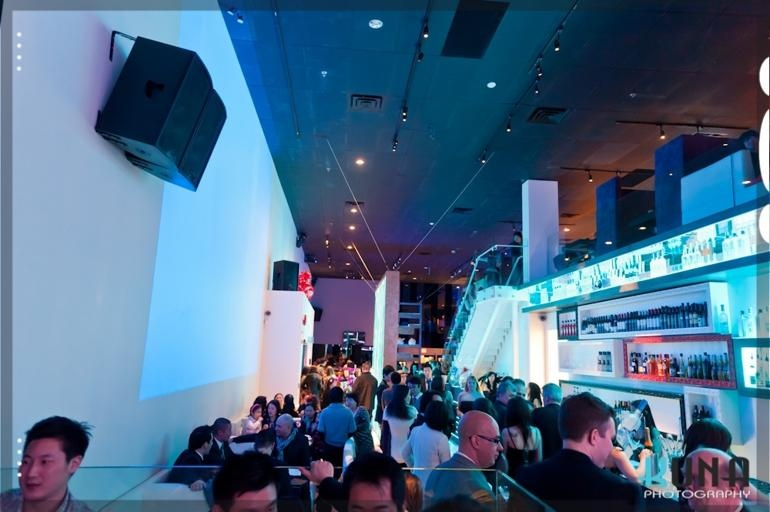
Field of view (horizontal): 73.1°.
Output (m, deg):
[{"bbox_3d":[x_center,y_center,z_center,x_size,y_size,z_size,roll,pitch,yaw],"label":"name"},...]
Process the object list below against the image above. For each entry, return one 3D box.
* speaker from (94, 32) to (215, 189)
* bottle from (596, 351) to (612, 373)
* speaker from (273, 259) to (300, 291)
[{"bbox_3d":[-1.805,-1.179,4.296,0.604,0.939,0.988,3,-6,-1],"label":"speaker"},{"bbox_3d":[3.274,1.585,7.731,0.156,0.275,0.300,5,-26,1],"label":"bottle"},{"bbox_3d":[-1.912,0.370,9.999,0.461,0.585,0.558,5,-6,-15],"label":"speaker"}]
